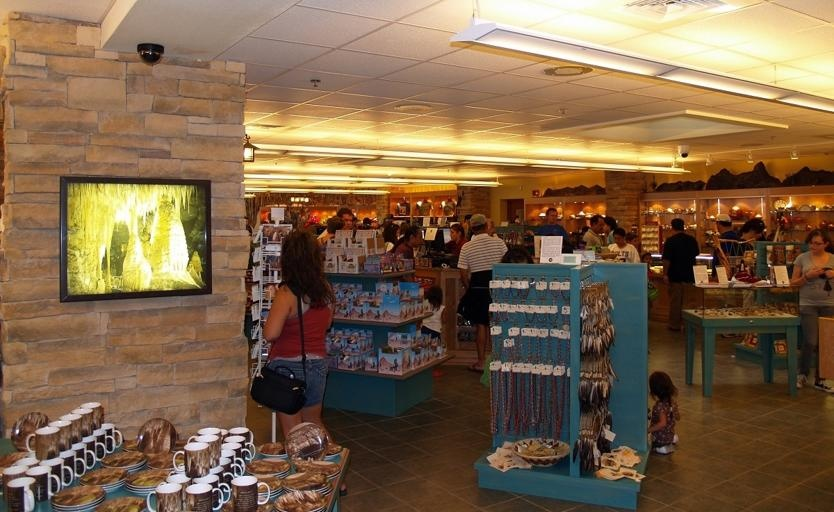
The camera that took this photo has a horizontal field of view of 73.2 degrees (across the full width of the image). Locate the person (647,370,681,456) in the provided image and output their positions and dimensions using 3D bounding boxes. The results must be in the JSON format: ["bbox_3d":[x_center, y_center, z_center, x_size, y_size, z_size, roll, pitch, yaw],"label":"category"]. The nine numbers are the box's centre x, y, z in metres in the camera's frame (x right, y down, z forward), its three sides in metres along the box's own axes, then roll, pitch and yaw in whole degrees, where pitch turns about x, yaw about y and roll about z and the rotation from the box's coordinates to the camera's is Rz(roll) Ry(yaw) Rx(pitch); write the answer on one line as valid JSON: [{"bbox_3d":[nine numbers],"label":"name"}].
[{"bbox_3d":[2.761,1.751,6.330,0.328,0.888,0.387,3,11,23],"label":"person"}]

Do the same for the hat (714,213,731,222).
[{"bbox_3d":[5.978,-0.750,10.979,0.376,0.127,0.459,4,7,23],"label":"hat"}]

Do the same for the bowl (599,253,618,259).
[{"bbox_3d":[3.359,0.003,9.941,0.379,0.072,0.319,1,-4,-11],"label":"bowl"}]

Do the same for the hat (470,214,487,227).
[{"bbox_3d":[0.987,-0.581,9.050,0.238,0.133,0.306,2,10,26],"label":"hat"}]

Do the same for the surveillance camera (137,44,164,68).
[{"bbox_3d":[-2.726,-2.066,5.739,0.262,0.140,0.224,-1,-1,-5],"label":"surveillance camera"}]

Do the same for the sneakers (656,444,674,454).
[{"bbox_3d":[2.756,2.160,6.293,0.155,0.116,0.104,-7,-12,30],"label":"sneakers"}]

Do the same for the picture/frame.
[{"bbox_3d":[-3.000,-0.179,5.835,1.847,1.205,0.071,0,-3,-26],"label":"picture/frame"}]

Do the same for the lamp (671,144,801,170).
[{"bbox_3d":[8.894,-2.777,15.329,1.431,0.321,1.921,-3,3,-32],"label":"lamp"}]

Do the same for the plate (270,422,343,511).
[{"bbox_3d":[-0.767,1.481,3.948,0.449,0.512,0.122,6,-19,-30],"label":"plate"}]

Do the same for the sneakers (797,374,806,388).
[{"bbox_3d":[5.557,1.831,8.158,0.146,0.130,0.398,-3,-10,28],"label":"sneakers"}]
